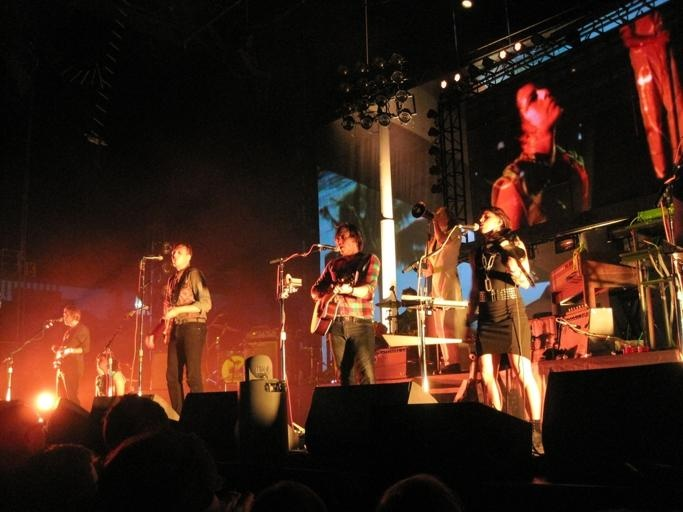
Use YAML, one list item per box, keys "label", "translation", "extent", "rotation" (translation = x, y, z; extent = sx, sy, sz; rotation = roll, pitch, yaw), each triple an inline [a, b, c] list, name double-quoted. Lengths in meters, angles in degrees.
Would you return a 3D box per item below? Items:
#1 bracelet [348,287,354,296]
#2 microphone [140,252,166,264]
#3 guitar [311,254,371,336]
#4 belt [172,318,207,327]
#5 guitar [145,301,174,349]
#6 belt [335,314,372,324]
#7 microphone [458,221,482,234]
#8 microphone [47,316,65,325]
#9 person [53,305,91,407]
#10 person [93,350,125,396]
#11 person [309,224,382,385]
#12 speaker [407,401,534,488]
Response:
- label: "bracelet"
  translation: [0.096, 0.362, 6.143]
  extent: [0.018, 0.053, 0.051]
  rotation: [-1, 17, 32]
- label: "microphone"
  translation: [-3.376, 0.016, 11.097]
  extent: [0.389, 0.196, 0.154]
  rotation: [-2, -22, 20]
- label: "guitar"
  translation: [0.000, 0.470, 6.234]
  extent: [0.135, 0.437, 1.015]
  rotation: [8, -37, -16]
- label: "belt"
  translation: [-1.761, 0.756, 7.080]
  extent: [0.380, 0.147, 0.212]
  rotation: [0, -15, -7]
- label: "guitar"
  translation: [-2.092, 0.817, 7.250]
  extent: [0.304, 0.156, 0.641]
  rotation: [3, -47, -29]
- label: "belt"
  translation: [0.121, 0.627, 6.225]
  extent: [0.384, 0.078, 0.085]
  rotation: [1, -15, -13]
- label: "microphone"
  translation: [1.672, -0.374, 8.048]
  extent: [0.426, 0.118, 0.132]
  rotation: [-5, -33, 33]
- label: "microphone"
  translation: [-5.534, 1.244, 11.965]
  extent: [0.279, 0.097, 0.280]
  rotation: [1, -4, -41]
- label: "person"
  translation: [-4.538, 1.582, 10.429]
  extent: [0.787, 1.740, 0.452]
  rotation: [-14, -19, 39]
- label: "person"
  translation: [-3.762, 1.894, 10.163]
  extent: [0.477, 0.963, 0.371]
  rotation: [3, 25, -11]
- label: "person"
  translation: [0.086, 0.450, 6.285]
  extent: [0.595, 1.645, 0.415]
  rotation: [-4, -15, 8]
- label: "speaker"
  translation: [0.870, 1.143, 4.210]
  extent: [0.585, 0.413, 0.615]
  rotation: [4, -6, -32]
